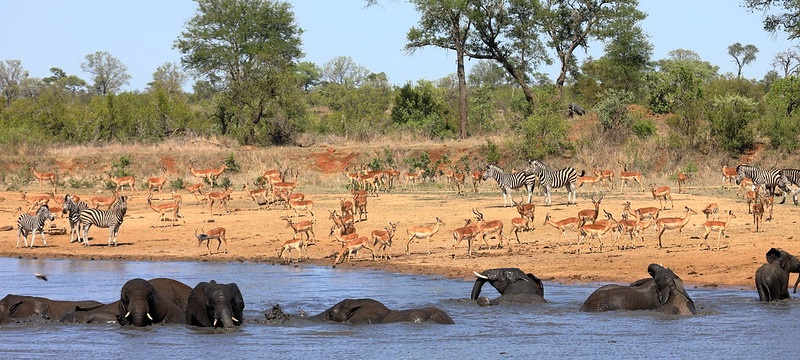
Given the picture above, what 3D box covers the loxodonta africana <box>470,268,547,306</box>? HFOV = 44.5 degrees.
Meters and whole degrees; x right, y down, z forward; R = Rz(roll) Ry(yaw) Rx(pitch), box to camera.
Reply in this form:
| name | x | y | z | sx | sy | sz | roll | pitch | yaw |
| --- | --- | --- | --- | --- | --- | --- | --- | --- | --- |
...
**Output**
| name | x | y | z | sx | sy | sz | roll | pitch | yaw |
| --- | --- | --- | --- | --- | --- | --- | --- | --- | --- |
| loxodonta africana | 7.185 | 7.424 | 65.988 | 4.781 | 2.691 | 2.629 | 10 | -6 | 5 |
